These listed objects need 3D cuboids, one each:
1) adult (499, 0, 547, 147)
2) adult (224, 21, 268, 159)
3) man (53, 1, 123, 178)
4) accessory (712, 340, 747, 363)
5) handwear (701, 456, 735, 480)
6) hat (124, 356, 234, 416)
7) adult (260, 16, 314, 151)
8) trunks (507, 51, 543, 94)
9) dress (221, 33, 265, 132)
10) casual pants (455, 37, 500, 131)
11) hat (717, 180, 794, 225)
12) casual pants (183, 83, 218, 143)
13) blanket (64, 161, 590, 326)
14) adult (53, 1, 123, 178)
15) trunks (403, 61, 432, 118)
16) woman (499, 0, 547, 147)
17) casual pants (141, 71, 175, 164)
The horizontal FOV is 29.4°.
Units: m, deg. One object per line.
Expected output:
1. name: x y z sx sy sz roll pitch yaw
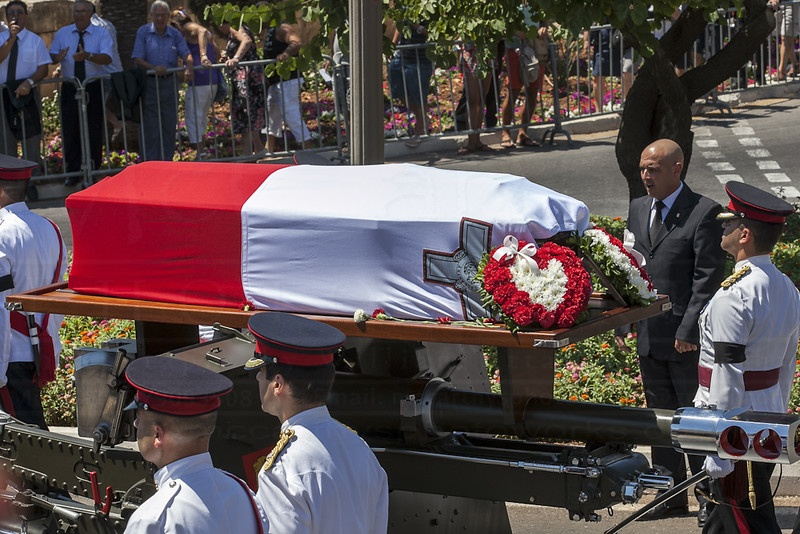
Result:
1. adult: 1.590 -2.512 18.944 0.632 2.093 0.699 -1 10 -12
2. adult: -1.914 -2.225 18.510 0.617 1.802 0.910 0 2 7
3. man: -3.689 -2.043 17.788 0.735 2.121 0.616 -3 14 -12
4. accessory: 2.334 0.577 10.735 0.170 0.100 0.162 -2 5 -13
5. handwear: 2.232 1.384 10.632 0.195 0.221 0.253 -14 -16 29
6. hat: -1.382 0.725 9.322 0.447 0.166 0.397 7 15 15
7. adult: -1.412 -2.232 18.381 0.670 1.786 0.619 4 11 39
8. trunks: 1.530 -2.529 18.948 0.455 0.589 0.327 -11 6 -33
9. dress: -1.845 -2.241 18.339 0.440 1.274 0.480 -1 14 -7
10. casual pants: 1.031 -2.241 18.644 0.721 0.403 1.364 -14 -33 -4
11. hat: 2.581 -0.461 10.953 0.417 0.161 0.356 8 13 14
12. casual pants: -2.449 -1.903 18.556 0.331 0.772 0.373 -4 2 -13
13. blanket: -0.668 -0.203 10.892 3.537 1.000 0.550 5 15 17
14. adult: -3.701 -2.044 17.793 0.730 2.121 0.624 -1 14 -8
15. trunks: 0.278 -2.298 18.859 0.351 0.581 0.453 -5 12 6
16. woman: 1.633 -2.392 19.038 0.505 1.696 0.543 8 -24 -1
17. casual pants: -2.798 -1.772 17.835 0.458 0.991 0.286 -5 15 -21
